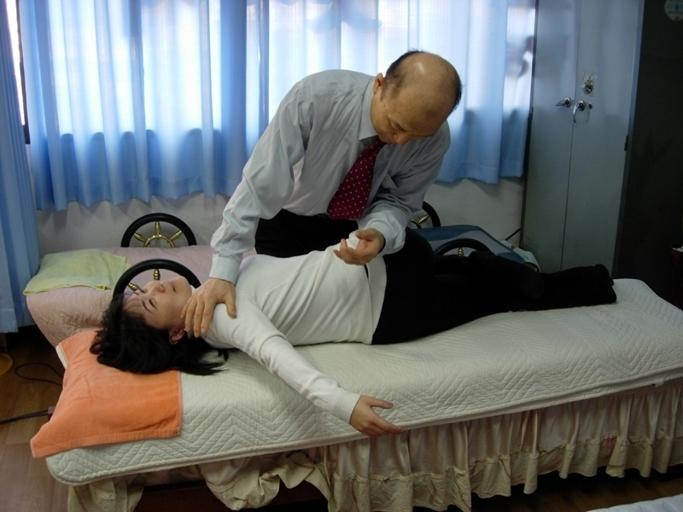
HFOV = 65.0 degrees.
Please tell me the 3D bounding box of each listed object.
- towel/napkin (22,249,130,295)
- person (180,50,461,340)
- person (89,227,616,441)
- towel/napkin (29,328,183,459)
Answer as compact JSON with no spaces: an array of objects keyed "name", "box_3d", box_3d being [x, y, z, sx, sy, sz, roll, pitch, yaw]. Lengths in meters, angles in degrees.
[{"name":"towel/napkin","box_3d":[-1.458,0.054,2.859,0.349,0.085,0.396,-2,28,-14]},{"name":"person","box_3d":[-0.048,-0.229,2.008,0.975,0.997,0.511,-1,15,-3]},{"name":"person","box_3d":[-0.001,0.173,2.054,1.172,0.285,0.935,-7,30,-19]},{"name":"towel/napkin","box_3d":[-0.783,0.491,1.896,0.470,0.129,0.513,5,17,-10]}]
